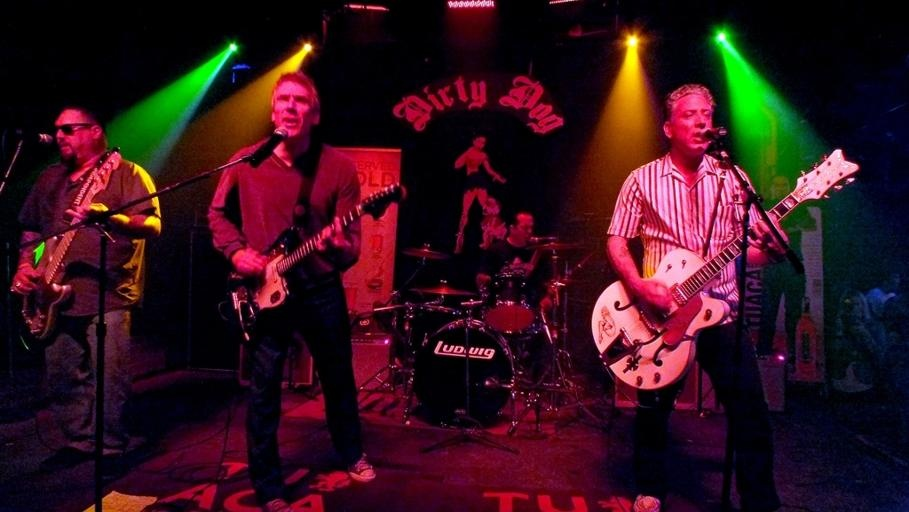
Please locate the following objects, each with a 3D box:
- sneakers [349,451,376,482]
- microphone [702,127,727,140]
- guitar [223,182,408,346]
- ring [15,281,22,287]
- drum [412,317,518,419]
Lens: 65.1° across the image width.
[{"bbox_3d":[-1.082,2.519,8.401,0.209,0.186,0.423,7,-21,-22],"label":"sneakers"},{"bbox_3d":[2.837,-1.337,7.714,0.229,0.150,0.376,3,1,16],"label":"microphone"},{"bbox_3d":[-1.672,0.116,8.011,1.662,1.380,0.261,3,1,10],"label":"guitar"},{"bbox_3d":[-5.176,0.327,8.444,0.088,0.041,0.010,3,1,2],"label":"ring"},{"bbox_3d":[0.197,1.561,9.818,1.589,1.532,0.633,1,-4,7],"label":"drum"}]
